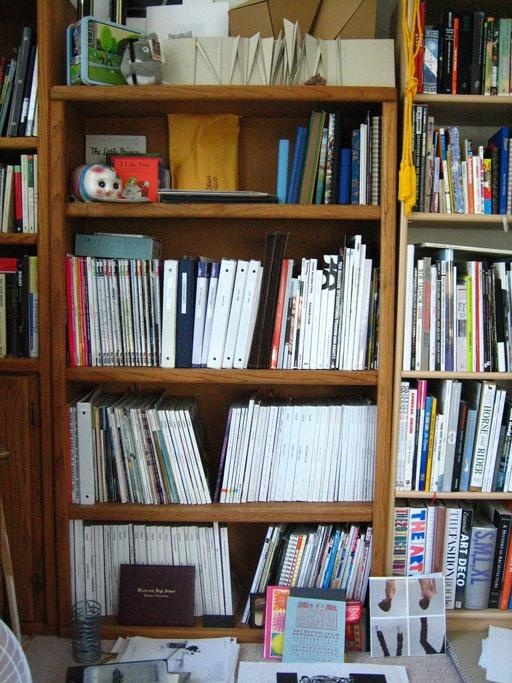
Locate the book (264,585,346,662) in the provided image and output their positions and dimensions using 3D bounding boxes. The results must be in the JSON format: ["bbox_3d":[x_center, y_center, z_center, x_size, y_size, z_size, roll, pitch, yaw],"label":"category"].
[{"bbox_3d":[0.121,0.744,1.517,0.182,0.194,0.044,2,-7,5],"label":"book"}]

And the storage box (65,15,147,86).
[{"bbox_3d":[-0.391,-0.743,1.534,0.203,0.164,0.071,-7,13,-40],"label":"storage box"}]

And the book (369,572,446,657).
[{"bbox_3d":[0.407,0.738,1.597,0.217,0.206,0.070,-1,-1,-2],"label":"book"}]
